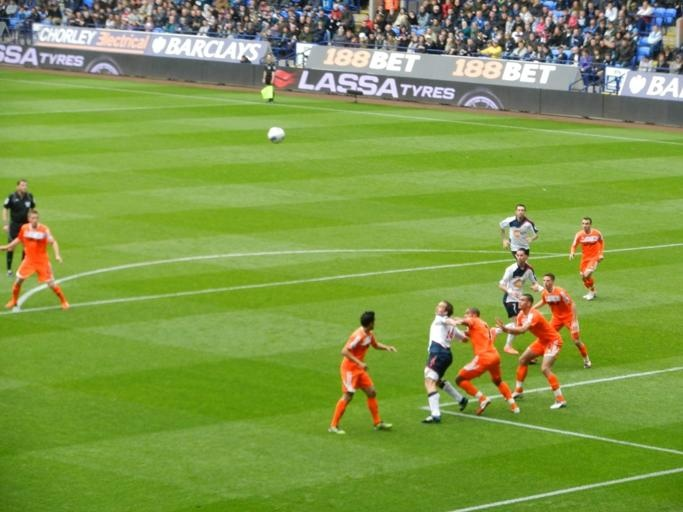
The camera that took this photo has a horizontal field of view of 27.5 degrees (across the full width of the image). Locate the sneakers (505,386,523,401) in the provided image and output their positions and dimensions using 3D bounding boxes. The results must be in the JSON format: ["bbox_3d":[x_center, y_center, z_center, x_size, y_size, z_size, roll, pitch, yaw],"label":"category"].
[{"bbox_3d":[3.669,2.933,29.948,0.520,0.194,0.163,-14,7,-17],"label":"sneakers"}]

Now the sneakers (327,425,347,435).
[{"bbox_3d":[-0.120,3.508,28.344,0.392,0.144,0.136,7,7,7],"label":"sneakers"}]

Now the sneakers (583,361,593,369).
[{"bbox_3d":[5.551,2.422,31.699,0.182,0.193,0.292,9,8,9],"label":"sneakers"}]

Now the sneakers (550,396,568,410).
[{"bbox_3d":[4.633,3.102,29.603,0.483,0.180,0.166,-3,-1,-27],"label":"sneakers"}]

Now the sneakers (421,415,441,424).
[{"bbox_3d":[1.831,3.341,28.693,0.445,0.174,0.147,2,4,4],"label":"sneakers"}]

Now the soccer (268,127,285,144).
[{"bbox_3d":[-2.409,-4.454,51.228,0.581,0.520,0.676,10,18,5],"label":"soccer"}]

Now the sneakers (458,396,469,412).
[{"bbox_3d":[2.551,3.105,29.366,0.135,0.343,0.170,24,49,20],"label":"sneakers"}]

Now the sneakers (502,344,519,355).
[{"bbox_3d":[3.759,2.106,31.564,0.206,0.109,0.321,-4,4,-37],"label":"sneakers"}]

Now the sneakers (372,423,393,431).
[{"bbox_3d":[0.824,3.462,28.455,0.363,0.150,0.137,-1,6,8],"label":"sneakers"}]
